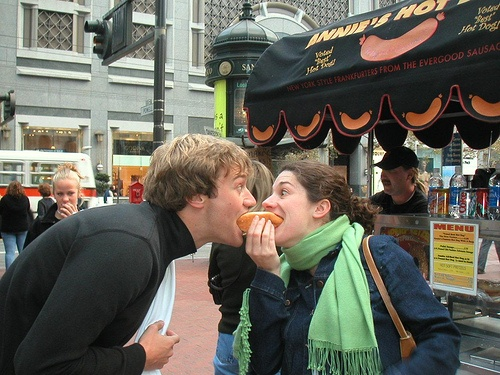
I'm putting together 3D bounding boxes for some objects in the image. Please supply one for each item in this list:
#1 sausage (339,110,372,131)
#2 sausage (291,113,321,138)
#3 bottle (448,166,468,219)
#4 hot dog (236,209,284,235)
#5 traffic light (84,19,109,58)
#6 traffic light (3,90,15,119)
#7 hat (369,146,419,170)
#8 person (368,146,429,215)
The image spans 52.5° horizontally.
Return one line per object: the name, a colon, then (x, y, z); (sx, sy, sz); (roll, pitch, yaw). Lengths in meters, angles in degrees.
sausage: (0.954, -0.618, 4.574); (0.022, 0.170, 0.341); (2, -2, -40)
sausage: (0.560, -0.615, 4.915); (0.075, 0.250, 0.165); (8, 31, -32)
bottle: (1.954, 0.054, 4.776); (0.170, 0.510, 0.160); (-3, 6, 0)
hot dog: (0.053, 0.200, 3.080); (0.232, 0.141, 0.235); (0, 5, -13)
traffic light: (-3.293, -3.276, 10.876); (0.515, 0.901, 0.632); (1, -2, -24)
traffic light: (-6.882, -2.425, 14.433); (0.264, 0.895, 0.980); (1, -2, -26)
hat: (1.737, -0.333, 5.859); (0.361, 0.236, 0.267); (5, -1, -1)
person: (1.769, -0.059, 5.926); (0.653, 1.121, 0.721); (-6, 9, -32)
